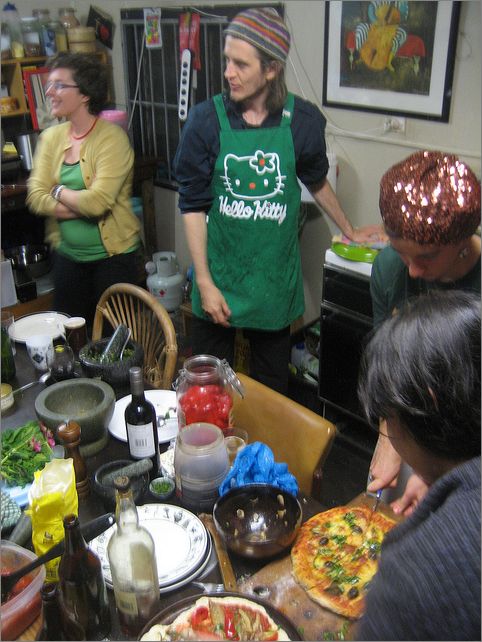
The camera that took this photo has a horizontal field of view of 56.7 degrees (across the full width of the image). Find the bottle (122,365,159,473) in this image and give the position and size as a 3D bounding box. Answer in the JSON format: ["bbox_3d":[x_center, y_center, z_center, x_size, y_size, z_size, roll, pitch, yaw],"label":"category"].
[{"bbox_3d":[-0.239,0.236,1.068,0.078,0.309,0.081,1,18,0],"label":"bottle"}]

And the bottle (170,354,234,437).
[{"bbox_3d":[-0.102,0.153,1.218,0.144,0.321,0.139,1,10,0],"label":"bottle"}]

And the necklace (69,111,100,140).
[{"bbox_3d":[-0.868,-1.076,2.483,0.156,0.125,0.101,-5,22,-15],"label":"necklace"}]

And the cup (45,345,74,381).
[{"bbox_3d":[-0.589,0.146,1.468,0.071,0.127,0.097,-11,24,-30],"label":"cup"}]

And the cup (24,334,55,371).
[{"bbox_3d":[-0.703,0.114,1.567,0.051,0.104,0.101,2,26,7],"label":"cup"}]

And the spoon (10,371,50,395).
[{"bbox_3d":[-0.692,0.206,1.475,0.091,0.016,0.018,-40,29,-29],"label":"spoon"}]

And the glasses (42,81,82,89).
[{"bbox_3d":[-0.953,-1.249,2.378,0.173,0.053,0.070,11,24,18],"label":"glasses"}]

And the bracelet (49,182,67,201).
[{"bbox_3d":[-1.009,-0.715,2.477,0.030,0.097,0.068,25,-10,-34],"label":"bracelet"}]

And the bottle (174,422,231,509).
[{"bbox_3d":[-0.085,0.309,1.050,0.093,0.189,0.174,0,36,-3],"label":"bottle"}]

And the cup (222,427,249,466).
[{"bbox_3d":[-0.014,0.310,1.153,0.051,0.120,0.066,3,25,5],"label":"cup"}]

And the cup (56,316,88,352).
[{"bbox_3d":[-0.643,0.038,1.712,0.071,0.150,0.118,-13,18,-35],"label":"cup"}]

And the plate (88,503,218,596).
[{"bbox_3d":[-0.150,0.364,0.856,0.158,0.035,0.170,19,33,35],"label":"plate"}]
